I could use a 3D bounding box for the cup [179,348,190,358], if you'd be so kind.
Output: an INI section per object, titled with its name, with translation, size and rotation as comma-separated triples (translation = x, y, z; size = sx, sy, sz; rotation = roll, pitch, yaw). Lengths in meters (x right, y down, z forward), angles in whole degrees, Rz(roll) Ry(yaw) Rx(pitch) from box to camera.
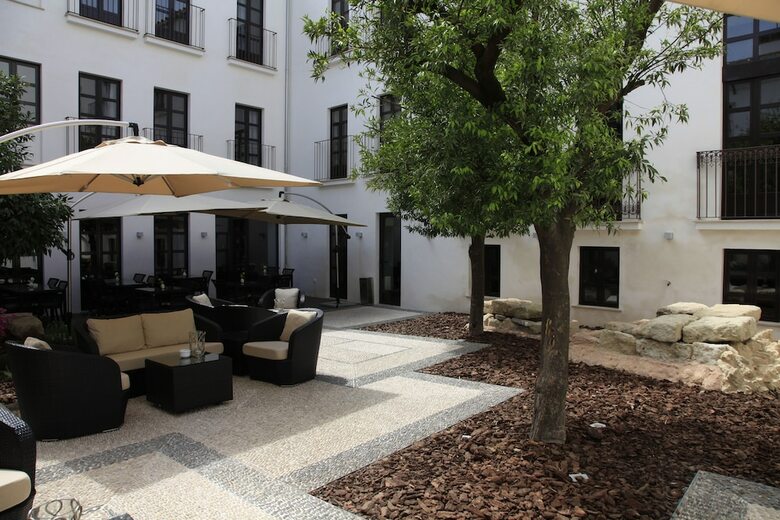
[cup]
translation = -3.071, 1.403, 8.581
size = 0.147, 0.092, 0.149
rotation = 3, 1, 0
